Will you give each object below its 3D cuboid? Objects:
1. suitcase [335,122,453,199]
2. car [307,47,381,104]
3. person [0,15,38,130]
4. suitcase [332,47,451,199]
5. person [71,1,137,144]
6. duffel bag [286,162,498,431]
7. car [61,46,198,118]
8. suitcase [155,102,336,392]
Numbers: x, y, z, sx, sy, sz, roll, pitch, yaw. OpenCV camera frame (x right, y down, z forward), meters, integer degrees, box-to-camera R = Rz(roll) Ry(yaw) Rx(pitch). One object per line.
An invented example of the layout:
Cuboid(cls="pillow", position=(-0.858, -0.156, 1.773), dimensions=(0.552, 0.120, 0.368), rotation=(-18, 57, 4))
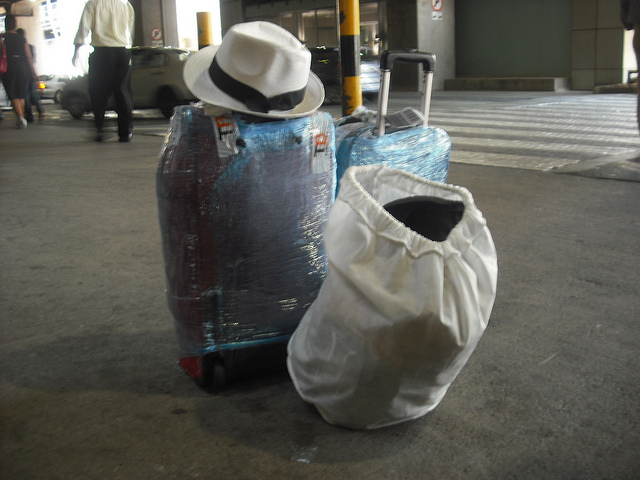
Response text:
Cuboid(cls="suitcase", position=(0.521, -0.422, 3.044), dimensions=(0.427, 0.346, 0.215), rotation=(1, 13, -11))
Cuboid(cls="car", position=(0.564, -3.777, 12.732), dimensions=(1.589, 1.271, 3.304), rotation=(1, 16, 4))
Cuboid(cls="person", position=(-5.954, -3.252, 10.751), dimensions=(0.540, 2.040, 0.758), rotation=(-5, 18, -13))
Cuboid(cls="suitcase", position=(0.350, -0.573, 3.113), dimensions=(0.704, 0.983, 0.580), rotation=(-9, 29, -22))
Cuboid(cls="person", position=(-3.017, -2.339, 7.798), dimensions=(0.758, 1.954, 0.790), rotation=(2, 18, 9))
Cuboid(cls="duffel bag", position=(0.235, 0.200, 2.163), dimensions=(0.810, 0.968, 0.789), rotation=(13, 18, -5))
Cuboid(cls="car", position=(-4.065, -3.415, 12.283), dimensions=(3.552, 1.397, 1.443), rotation=(0, 14, 11))
Cuboid(cls="suitcase", position=(-0.328, 0.013, 2.315), dimensions=(0.812, 1.120, 0.451), rotation=(-7, 12, -39))
